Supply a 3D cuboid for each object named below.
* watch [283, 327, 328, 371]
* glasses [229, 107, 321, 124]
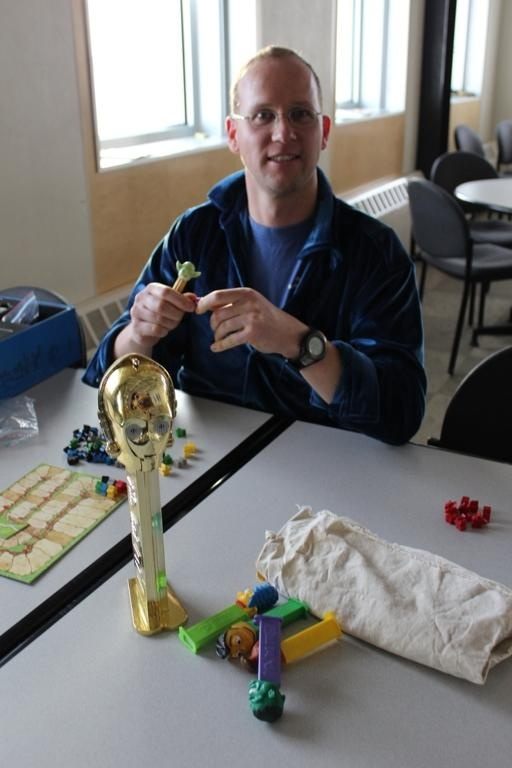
[{"bbox_3d":[0.090,-0.055,0.971,0.042,0.067,0.070,40,67,4],"label":"watch"},{"bbox_3d":[0.037,-0.549,1.212,0.183,0.034,0.098,1,21,6],"label":"glasses"}]
